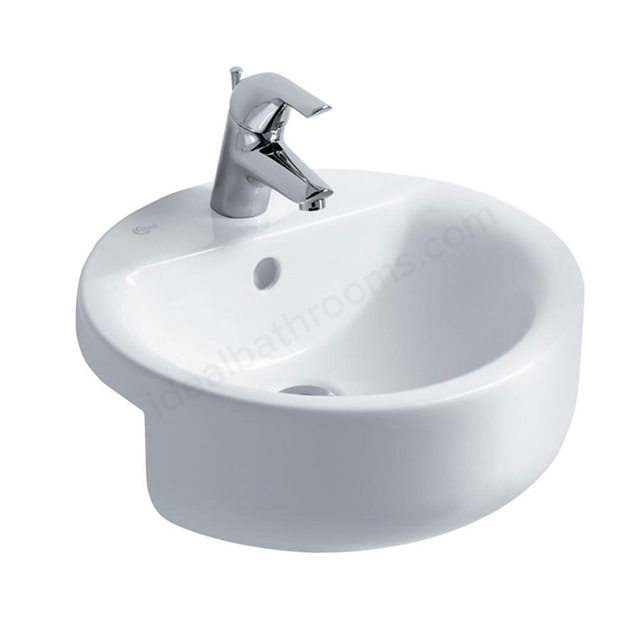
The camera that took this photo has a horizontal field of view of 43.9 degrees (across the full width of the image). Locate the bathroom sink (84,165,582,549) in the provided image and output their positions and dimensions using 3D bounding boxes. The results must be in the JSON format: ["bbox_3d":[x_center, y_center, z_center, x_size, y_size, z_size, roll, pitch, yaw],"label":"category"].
[{"bbox_3d":[0.021,0.032,1.014,0.570,0.529,0.216,-31,-43,-35],"label":"bathroom sink"}]
